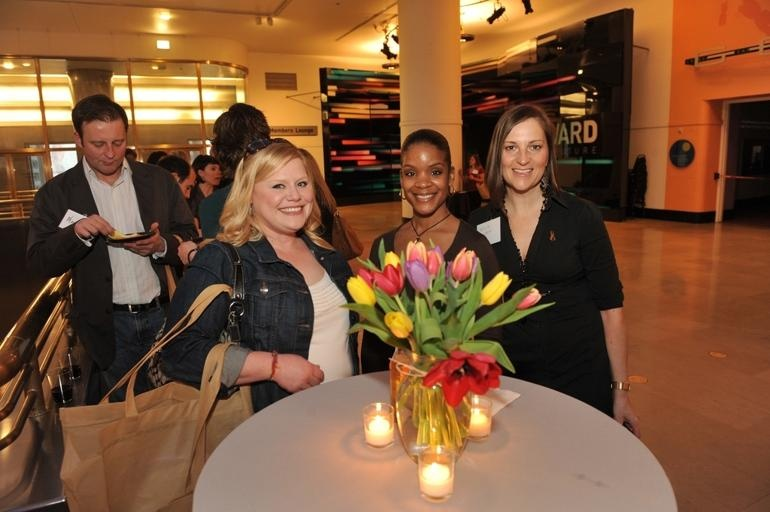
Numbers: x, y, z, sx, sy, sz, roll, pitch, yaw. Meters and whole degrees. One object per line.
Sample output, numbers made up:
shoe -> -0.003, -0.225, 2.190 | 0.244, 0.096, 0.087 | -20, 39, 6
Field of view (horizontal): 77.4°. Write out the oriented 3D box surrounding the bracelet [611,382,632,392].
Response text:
bracelet -> 1.241, 0.673, 2.511 | 0.070, 0.048, 0.073 | 9, -9, -28

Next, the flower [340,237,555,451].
flower -> 0.160, 0.295, 1.954 | 0.692, 0.782, 0.767 | -3, 7, -43

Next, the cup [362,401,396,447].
cup -> -0.022, 0.650, 1.935 | 0.149, 0.161, 0.142 | -2, 8, 0

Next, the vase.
vase -> 0.175, 0.539, 1.822 | 0.283, 0.425, 0.290 | -7, 1, 5
